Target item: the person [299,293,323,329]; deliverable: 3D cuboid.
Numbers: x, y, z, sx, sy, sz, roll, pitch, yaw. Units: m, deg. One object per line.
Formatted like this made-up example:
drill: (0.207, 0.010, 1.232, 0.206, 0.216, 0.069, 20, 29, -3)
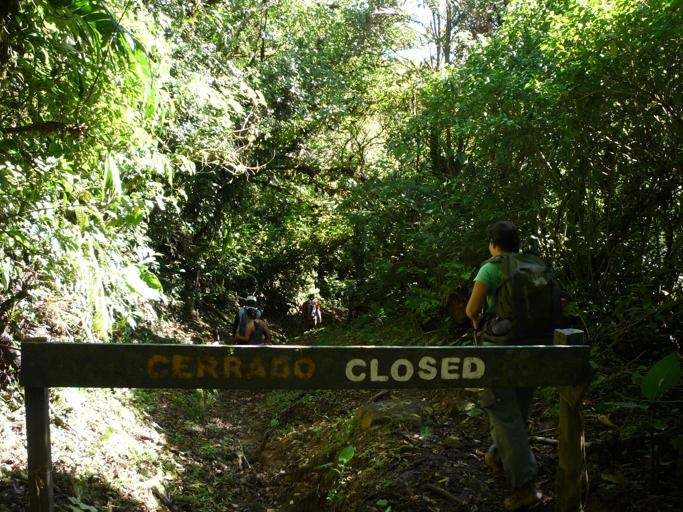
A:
person: (-0.742, 1.541, 15.846, 0.473, 1.205, 0.381, 1, 9, -2)
